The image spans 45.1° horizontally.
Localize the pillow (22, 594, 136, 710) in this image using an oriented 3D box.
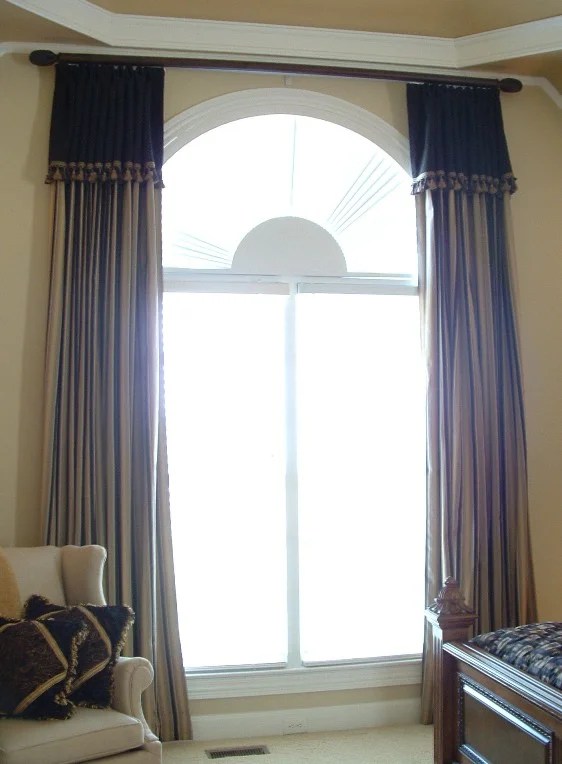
[{"bbox_3d":[-0.578,0.829,2.108,0.264,0.336,0.083,27,-37,-32],"label":"pillow"}]
